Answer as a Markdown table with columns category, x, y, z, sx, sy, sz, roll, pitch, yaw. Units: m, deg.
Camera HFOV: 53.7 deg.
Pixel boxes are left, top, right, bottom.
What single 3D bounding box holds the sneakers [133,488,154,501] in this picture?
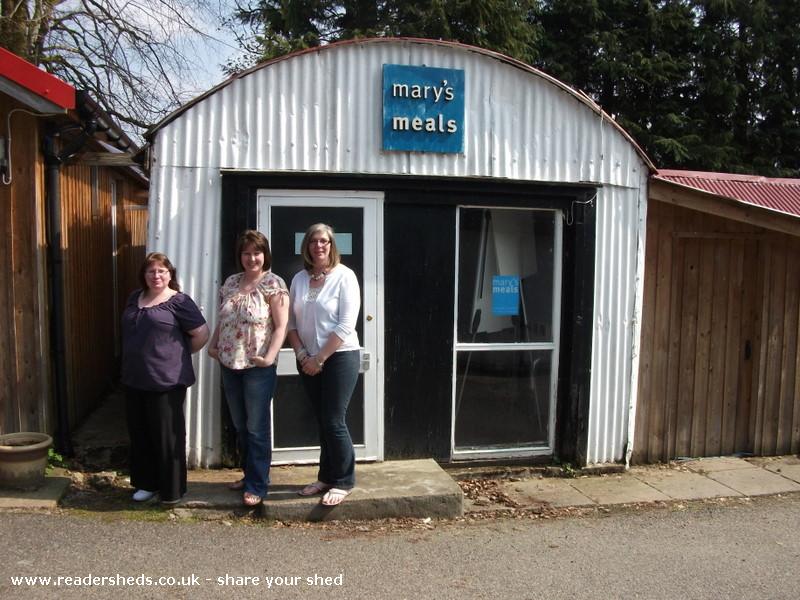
| category | x | y | z | sx | sy | sz | roll | pitch | yaw |
| --- | --- | --- | --- | --- | --- | --- | --- | --- | --- |
| sneakers | -2.344 | 1.785 | 7.236 | 0.206 | 0.097 | 0.077 | 9 | -6 | -26 |

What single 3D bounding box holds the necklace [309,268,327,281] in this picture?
| category | x | y | z | sx | sy | sz | roll | pitch | yaw |
| --- | --- | --- | --- | --- | --- | --- | --- | --- | --- |
| necklace | -0.725 | -0.208 | 6.949 | 0.084 | 0.038 | 0.125 | -6 | 43 | 15 |

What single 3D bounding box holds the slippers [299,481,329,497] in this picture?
| category | x | y | z | sx | sy | sz | roll | pitch | yaw |
| --- | --- | --- | --- | --- | --- | --- | --- | --- | --- |
| slippers | -0.799 | 1.730 | 7.225 | 0.244 | 0.064 | 0.112 | 8 | -1 | -39 |

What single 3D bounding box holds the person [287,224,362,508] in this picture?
| category | x | y | z | sx | sy | sz | roll | pitch | yaw |
| --- | --- | --- | --- | --- | --- | --- | --- | --- | --- |
| person | -0.697 | 0.590 | 7.046 | 0.632 | 2.457 | 0.420 | 9 | 14 | 28 |

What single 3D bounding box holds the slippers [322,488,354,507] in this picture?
| category | x | y | z | sx | sy | sz | roll | pitch | yaw |
| --- | --- | --- | --- | --- | --- | --- | --- | --- | --- |
| slippers | -0.590 | 1.772 | 7.082 | 0.119 | 0.082 | 0.246 | -3 | -8 | 26 |

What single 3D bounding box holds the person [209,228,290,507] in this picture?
| category | x | y | z | sx | sy | sz | roll | pitch | yaw |
| --- | --- | --- | --- | --- | --- | --- | --- | --- | --- |
| person | -1.350 | 0.610 | 7.123 | 0.608 | 2.414 | 0.473 | 11 | 15 | 35 |

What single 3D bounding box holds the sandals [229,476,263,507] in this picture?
| category | x | y | z | sx | sy | sz | roll | pitch | yaw |
| --- | --- | --- | --- | --- | --- | --- | --- | --- | --- |
| sandals | -1.441 | 1.778 | 7.242 | 0.142 | 0.226 | 0.469 | 0 | -6 | -35 |

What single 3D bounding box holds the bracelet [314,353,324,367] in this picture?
| category | x | y | z | sx | sy | sz | roll | pitch | yaw |
| --- | --- | --- | --- | --- | --- | --- | --- | --- | --- |
| bracelet | -0.701 | 0.525 | 6.806 | 0.066 | 0.102 | 0.057 | -2 | -4 | 10 |

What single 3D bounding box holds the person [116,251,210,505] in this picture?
| category | x | y | z | sx | sy | sz | roll | pitch | yaw |
| --- | --- | --- | --- | --- | --- | --- | --- | --- | --- |
| person | -2.129 | 0.876 | 7.100 | 0.691 | 1.916 | 0.473 | 0 | 13 | -10 |

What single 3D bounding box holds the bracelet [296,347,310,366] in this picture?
| category | x | y | z | sx | sy | sz | roll | pitch | yaw |
| --- | --- | --- | --- | --- | --- | --- | --- | --- | --- |
| bracelet | -0.865 | 0.499 | 6.916 | 0.089 | 0.132 | 0.046 | -10 | -35 | 18 |
